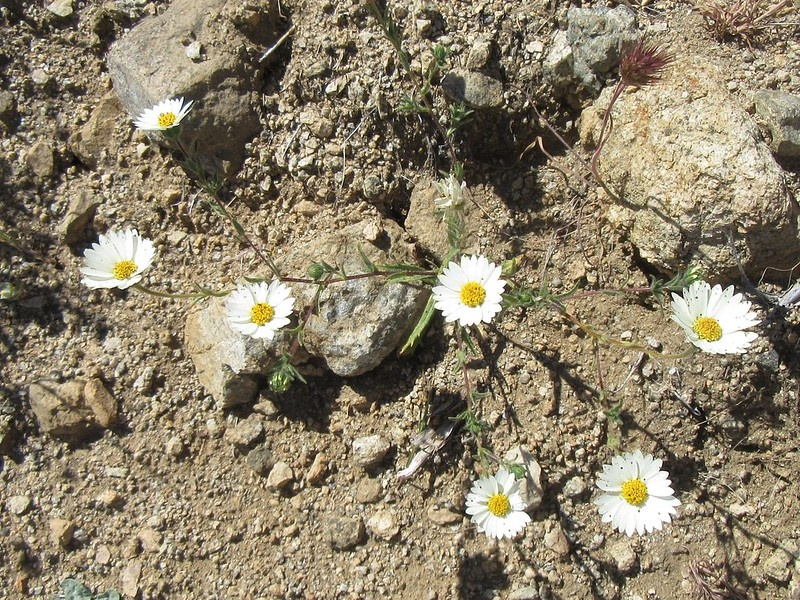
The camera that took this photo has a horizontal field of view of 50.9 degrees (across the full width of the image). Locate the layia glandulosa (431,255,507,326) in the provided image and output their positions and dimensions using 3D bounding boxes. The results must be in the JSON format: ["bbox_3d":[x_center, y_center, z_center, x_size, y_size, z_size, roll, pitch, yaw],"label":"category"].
[{"bbox_3d":[0.442,-0.054,5.374,0.456,0.321,0.429,-4,80,2],"label":"layia glandulosa"}]

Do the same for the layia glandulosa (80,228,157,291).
[{"bbox_3d":[-1.840,-0.261,5.586,0.433,0.338,0.407,6,80,4],"label":"layia glandulosa"}]

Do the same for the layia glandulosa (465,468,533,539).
[{"bbox_3d":[0.639,1.270,5.358,0.374,0.428,0.214,6,105,17],"label":"layia glandulosa"}]
